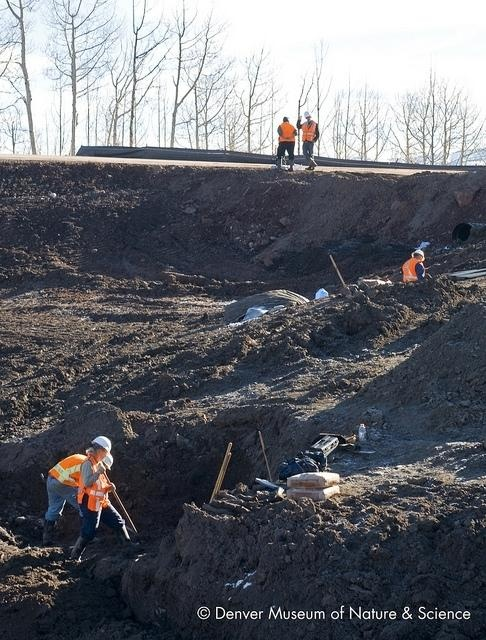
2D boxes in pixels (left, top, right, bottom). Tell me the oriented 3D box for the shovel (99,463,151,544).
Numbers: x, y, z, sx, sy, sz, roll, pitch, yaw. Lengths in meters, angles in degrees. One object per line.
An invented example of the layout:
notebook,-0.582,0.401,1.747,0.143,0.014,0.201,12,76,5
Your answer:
shovel,-1.298,2.049,10.152,0.137,1.134,0.155,-42,-17,24

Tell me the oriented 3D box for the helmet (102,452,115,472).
helmet,-1.314,1.365,8.978,0.077,0.151,0.161,2,0,-2

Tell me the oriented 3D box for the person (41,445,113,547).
person,-1.730,1.892,9.670,0.828,0.458,1.167,-4,-43,-28

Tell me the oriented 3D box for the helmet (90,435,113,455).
helmet,-1.379,1.228,9.026,0.156,0.158,0.296,2,0,0

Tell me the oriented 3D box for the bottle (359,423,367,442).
bottle,1.216,1.136,9.296,0.082,0.179,0.222,2,0,8

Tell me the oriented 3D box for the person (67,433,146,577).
person,-1.417,1.769,9.443,0.676,1.204,1.136,2,0,-10

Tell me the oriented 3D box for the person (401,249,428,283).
person,2.775,-0.834,14.792,0.361,0.557,1.150,2,0,11
